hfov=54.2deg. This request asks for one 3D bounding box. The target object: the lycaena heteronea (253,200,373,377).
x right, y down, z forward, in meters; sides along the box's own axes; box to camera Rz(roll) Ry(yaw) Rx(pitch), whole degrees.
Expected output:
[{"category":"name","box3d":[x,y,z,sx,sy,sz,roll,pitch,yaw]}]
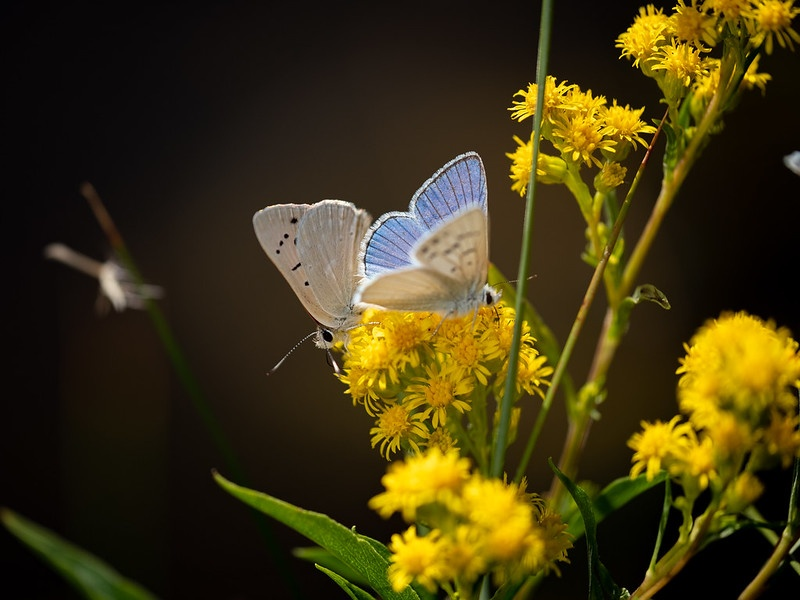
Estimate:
[{"category":"lycaena heteronea","box3d":[-0.102,-0.012,1.090,0.158,0.178,0.241,-28,19,-7]}]

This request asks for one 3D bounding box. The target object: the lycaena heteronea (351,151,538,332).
[{"category":"lycaena heteronea","box3d":[0.042,-0.063,0.939,0.166,0.199,0.233,3,7,-5]}]
